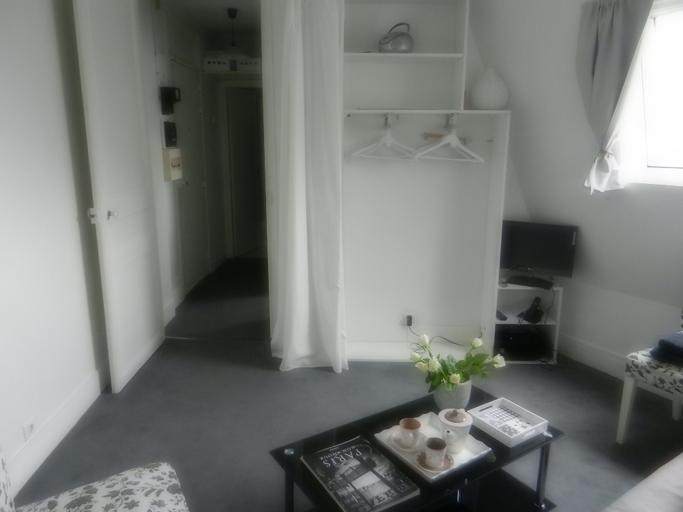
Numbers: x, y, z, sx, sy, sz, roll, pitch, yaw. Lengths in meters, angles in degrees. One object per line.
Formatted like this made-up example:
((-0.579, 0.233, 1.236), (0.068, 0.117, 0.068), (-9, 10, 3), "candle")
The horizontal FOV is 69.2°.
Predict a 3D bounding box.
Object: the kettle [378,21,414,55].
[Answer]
((0.382, -1.479, 3.510), (0.250, 0.245, 0.263), (-4, 35, -2), "kettle")

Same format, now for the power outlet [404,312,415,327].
((0.539, 0.513, 4.035), (0.083, 0.168, 0.092), (0, 3, -4), "power outlet")

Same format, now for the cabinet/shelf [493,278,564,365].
((1.440, 0.515, 3.790), (0.531, 0.740, 0.377), (0, 10, 2), "cabinet/shelf")

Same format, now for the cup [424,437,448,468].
((0.408, 0.869, 2.184), (0.087, 0.102, 0.107), (0, 13, -10), "cup")

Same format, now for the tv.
((1.464, -0.024, 3.676), (0.423, 0.447, 0.159), (6, 8, 18), "tv")

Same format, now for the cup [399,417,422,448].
((0.305, 0.799, 2.267), (0.093, 0.103, 0.107), (2, 12, -6), "cup")

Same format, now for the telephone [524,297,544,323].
((1.457, 0.412, 3.775), (0.079, 0.129, 0.212), (21, 56, -4), "telephone")

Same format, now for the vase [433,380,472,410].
((0.549, 0.702, 2.467), (0.147, 0.123, 0.154), (3, 9, 18), "vase")

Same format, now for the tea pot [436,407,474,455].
((0.510, 0.784, 2.255), (0.139, 0.173, 0.171), (0, 8, -2), "tea pot")

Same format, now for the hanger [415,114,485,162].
((0.758, -0.821, 3.627), (0.322, 0.191, 0.451), (0, 7, -3), "hanger")

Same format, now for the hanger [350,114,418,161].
((0.297, -0.862, 3.600), (0.473, 0.320, 0.219), (-1, 15, 1), "hanger")
